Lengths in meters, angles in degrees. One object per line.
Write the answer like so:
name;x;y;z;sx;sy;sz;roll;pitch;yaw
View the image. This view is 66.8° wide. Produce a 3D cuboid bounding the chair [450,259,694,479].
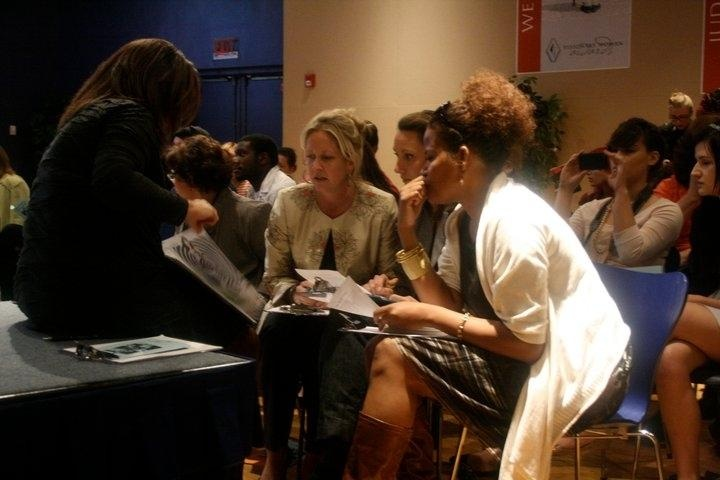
chair;1.115;0.563;2.960;0.968;1.427;0.885;18;-10;-39
